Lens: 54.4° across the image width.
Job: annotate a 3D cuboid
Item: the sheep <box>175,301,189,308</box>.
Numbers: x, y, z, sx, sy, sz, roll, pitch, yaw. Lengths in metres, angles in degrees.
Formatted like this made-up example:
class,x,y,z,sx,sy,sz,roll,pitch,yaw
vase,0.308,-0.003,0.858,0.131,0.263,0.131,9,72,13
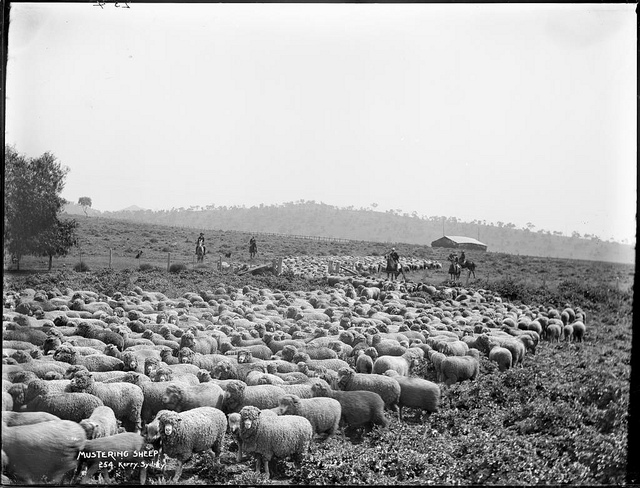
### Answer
class,x,y,z,sx,sy,sz,roll,pitch,yaw
sheep,-3.550,1.534,15.749,0.412,0.154,0.258,3,0,23

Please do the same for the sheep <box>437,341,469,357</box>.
class,x,y,z,sx,sy,sz,roll,pitch,yaw
sheep,3.094,2.407,14.325,0.676,0.435,0.338,4,-6,-23

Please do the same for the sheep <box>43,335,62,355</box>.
class,x,y,z,sx,sy,sz,roll,pitch,yaw
sheep,-5.695,2.106,13.274,0.261,0.386,0.372,2,-13,-19

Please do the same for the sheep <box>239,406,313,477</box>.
class,x,y,z,sx,sy,sz,roll,pitch,yaw
sheep,-0.886,3.778,11.889,1.540,1.255,0.774,12,-13,-30

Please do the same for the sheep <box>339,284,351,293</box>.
class,x,y,z,sx,sy,sz,roll,pitch,yaw
sheep,0.717,1.250,17.807,0.297,0.230,0.463,3,0,9

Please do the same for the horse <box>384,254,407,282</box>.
class,x,y,z,sx,sy,sz,roll,pitch,yaw
horse,2.166,0.659,18.233,1.044,0.747,0.288,23,-26,-30

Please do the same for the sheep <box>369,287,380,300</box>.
class,x,y,z,sx,sy,sz,roll,pitch,yaw
sheep,1.586,1.395,17.779,0.254,0.328,0.337,3,0,19

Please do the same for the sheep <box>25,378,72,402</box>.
class,x,y,z,sx,sy,sz,roll,pitch,yaw
sheep,-5.249,2.768,12.233,0.832,0.545,0.428,8,-1,0

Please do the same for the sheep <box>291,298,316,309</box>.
class,x,y,z,sx,sy,sz,roll,pitch,yaw
sheep,-0.478,1.576,16.537,0.352,0.225,0.663,2,1,-25

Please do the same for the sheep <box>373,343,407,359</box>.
class,x,y,z,sx,sy,sz,roll,pitch,yaw
sheep,1.603,2.396,14.101,0.547,0.331,0.296,4,-1,8

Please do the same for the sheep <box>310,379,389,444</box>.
class,x,y,z,sx,sy,sz,roll,pitch,yaw
sheep,0.366,3.440,13.045,2.095,1.451,0.740,8,-13,-2

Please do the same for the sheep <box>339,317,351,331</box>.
class,x,y,z,sx,sy,sz,roll,pitch,yaw
sheep,0.620,1.924,15.078,0.178,0.263,0.253,8,13,3

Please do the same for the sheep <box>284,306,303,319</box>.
class,x,y,z,sx,sy,sz,roll,pitch,yaw
sheep,-0.692,1.732,15.703,0.227,0.261,0.408,0,-2,5

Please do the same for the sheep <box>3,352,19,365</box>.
class,x,y,z,sx,sy,sz,roll,pitch,yaw
sheep,-6.450,2.379,12.967,0.275,0.254,0.541,3,0,-27

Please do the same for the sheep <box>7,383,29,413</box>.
class,x,y,z,sx,sy,sz,roll,pitch,yaw
sheep,-5.845,2.945,12.085,0.370,0.533,0.288,1,0,13

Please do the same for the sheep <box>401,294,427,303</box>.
class,x,y,z,sx,sy,sz,roll,pitch,yaw
sheep,2.659,1.522,17.480,0.722,0.220,0.245,3,0,5

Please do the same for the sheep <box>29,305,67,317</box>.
class,x,y,z,sx,sy,sz,roll,pitch,yaw
sheep,-6.519,1.613,14.891,0.965,0.274,0.361,3,0,10

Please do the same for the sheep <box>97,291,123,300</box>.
class,x,y,z,sx,sy,sz,roll,pitch,yaw
sheep,-5.310,1.306,15.787,0.592,0.206,0.308,4,0,-20

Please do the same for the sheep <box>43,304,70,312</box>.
class,x,y,z,sx,sy,sz,roll,pitch,yaw
sheep,-6.367,1.558,15.178,0.679,0.242,0.358,3,-2,-25

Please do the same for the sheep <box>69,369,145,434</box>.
class,x,y,z,sx,sy,sz,roll,pitch,yaw
sheep,-4.110,3.109,12.004,1.459,1.244,0.487,12,-16,-40

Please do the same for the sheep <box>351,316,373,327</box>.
class,x,y,z,sx,sy,sz,roll,pitch,yaw
sheep,1.041,1.886,15.203,0.377,0.200,0.221,2,-15,1

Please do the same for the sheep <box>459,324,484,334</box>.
class,x,y,z,sx,sy,sz,roll,pitch,yaw
sheep,3.780,2.082,15.397,0.611,0.202,0.486,3,0,3

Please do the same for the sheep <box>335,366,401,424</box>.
class,x,y,z,sx,sy,sz,roll,pitch,yaw
sheep,0.923,3.146,13.304,1.720,1.211,0.702,6,-13,-1

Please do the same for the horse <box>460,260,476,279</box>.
class,x,y,z,sx,sy,sz,roll,pitch,yaw
horse,4.136,0.654,17.298,0.350,0.427,0.306,3,0,14

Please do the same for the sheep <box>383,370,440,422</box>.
class,x,y,z,sx,sy,sz,roll,pitch,yaw
sheep,1.893,3.235,13.339,1.319,0.954,0.619,7,12,10

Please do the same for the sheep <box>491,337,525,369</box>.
class,x,y,z,sx,sy,sz,roll,pitch,yaw
sheep,4.580,2.551,14.677,0.439,0.688,0.960,3,4,-41

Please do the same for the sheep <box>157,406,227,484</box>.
class,x,y,z,sx,sy,sz,roll,pitch,yaw
sheep,-2.388,3.718,11.658,1.288,1.408,0.571,3,0,-16

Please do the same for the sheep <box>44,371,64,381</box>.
class,x,y,z,sx,sy,sz,roll,pitch,yaw
sheep,-5.360,2.655,12.501,0.267,0.145,0.167,7,-7,12

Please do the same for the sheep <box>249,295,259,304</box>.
class,x,y,z,sx,sy,sz,roll,pitch,yaw
sheep,-1.722,1.448,16.361,0.247,0.208,0.241,3,0,-6

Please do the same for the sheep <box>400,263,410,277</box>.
class,x,y,z,sx,sy,sz,roll,pitch,yaw
sheep,2.480,0.752,18.027,0.249,0.357,0.256,3,0,10

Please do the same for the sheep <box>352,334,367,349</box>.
class,x,y,z,sx,sy,sz,roll,pitch,yaw
sheep,0.931,2.212,14.302,0.204,0.297,0.242,5,-42,8

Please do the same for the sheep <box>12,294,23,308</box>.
class,x,y,z,sx,sy,sz,roll,pitch,yaw
sheep,-7.405,1.365,15.245,0.215,0.331,0.617,3,0,-28

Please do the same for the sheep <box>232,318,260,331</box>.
class,x,y,z,sx,sy,sz,roll,pitch,yaw
sheep,-1.757,1.907,14.815,0.495,0.264,0.268,4,-5,16
